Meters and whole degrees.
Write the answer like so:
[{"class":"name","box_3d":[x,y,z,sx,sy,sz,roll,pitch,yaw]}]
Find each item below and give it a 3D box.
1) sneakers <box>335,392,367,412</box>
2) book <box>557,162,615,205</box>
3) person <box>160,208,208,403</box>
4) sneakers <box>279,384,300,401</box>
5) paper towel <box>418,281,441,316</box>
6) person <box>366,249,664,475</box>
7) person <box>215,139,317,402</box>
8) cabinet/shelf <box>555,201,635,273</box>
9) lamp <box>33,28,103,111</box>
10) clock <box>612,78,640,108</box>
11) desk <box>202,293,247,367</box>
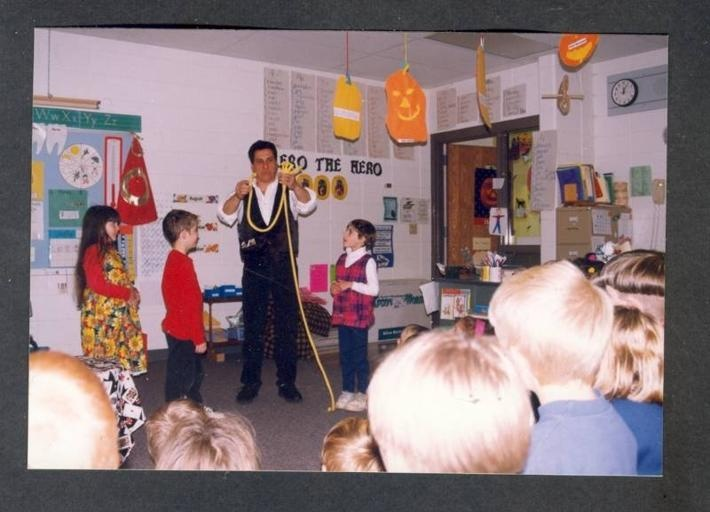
[{"class":"sneakers","box_3d":[-0.022,0.930,4.337,0.284,0.117,0.087,2,1,39]},{"class":"book","box_3d":[1.781,-0.558,5.183,0.333,0.136,0.350,2,-2,-8]},{"class":"person","box_3d":[-1.053,0.311,4.105,0.292,1.113,0.370,1,0,-4]},{"class":"sneakers","box_3d":[-0.436,0.920,4.548,0.136,0.101,0.080,-8,-6,43]},{"class":"paper towel","box_3d":[0.543,0.296,4.885,0.035,0.305,0.307,-3,3,42]},{"class":"person","box_3d":[0.925,0.473,3.535,0.780,1.248,1.001,-11,20,-6]},{"class":"person","box_3d":[-0.587,0.100,4.481,0.605,1.673,0.438,1,0,-6]},{"class":"cabinet/shelf","box_3d":[1.894,-0.126,5.402,0.493,0.583,0.317,-4,3,-40]},{"class":"lamp","box_3d":[-2.249,-1.453,5.226,0.459,0.564,0.282,2,0,5]},{"class":"clock","box_3d":[2.207,-1.337,5.481,0.058,0.262,0.219,1,-8,-32]},{"class":"desk","box_3d":[-1.238,0.598,5.666,0.417,0.410,0.327,10,-6,35]}]
